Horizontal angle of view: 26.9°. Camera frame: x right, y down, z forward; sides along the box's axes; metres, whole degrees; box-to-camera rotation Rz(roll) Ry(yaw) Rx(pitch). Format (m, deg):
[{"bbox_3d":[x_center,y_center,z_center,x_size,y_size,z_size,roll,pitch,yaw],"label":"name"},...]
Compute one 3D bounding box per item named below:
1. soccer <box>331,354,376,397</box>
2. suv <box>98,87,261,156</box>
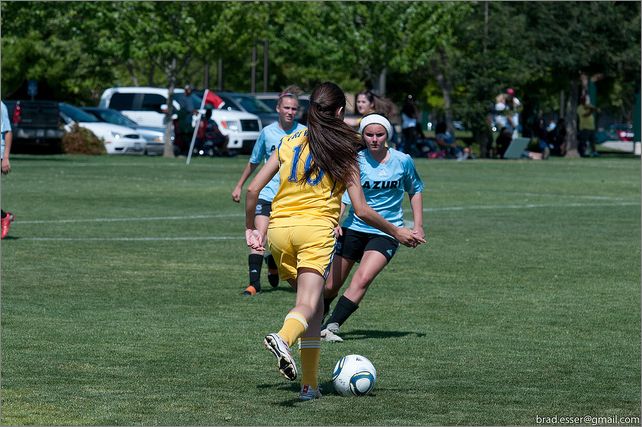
[{"bbox_3d":[0.507,2.340,19.834,0.576,0.588,0.568,-9,5,-34],"label":"soccer"},{"bbox_3d":[-5.287,-3.614,49.214,5.701,2.232,2.797,2,6,19],"label":"suv"}]
